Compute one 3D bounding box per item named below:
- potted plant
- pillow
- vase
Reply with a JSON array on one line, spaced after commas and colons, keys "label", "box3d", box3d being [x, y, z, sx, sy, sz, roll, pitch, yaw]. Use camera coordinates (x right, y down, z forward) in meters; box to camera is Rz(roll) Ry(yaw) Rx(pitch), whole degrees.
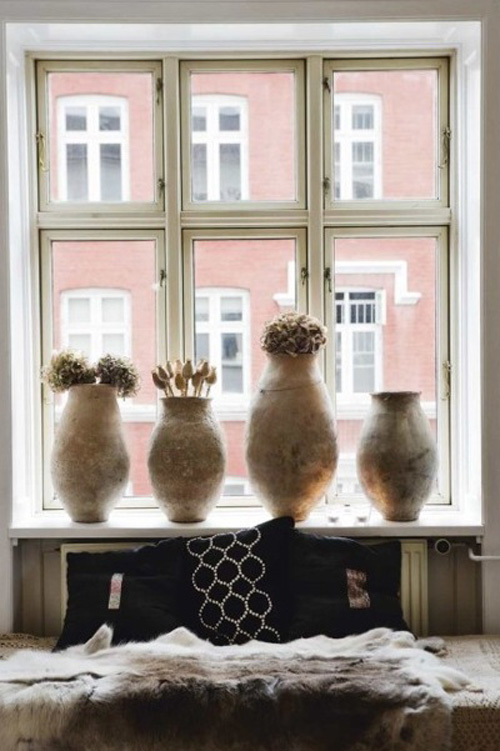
[{"label": "potted plant", "box3d": [-0.190, 0.142, 4.492, 0.642, 0.507, 0.203, -1, -9, -2]}, {"label": "pillow", "box3d": [-0.020, 0.694, 4.405, 0.745, 0.409, 0.179, -2, -10, -2]}, {"label": "vase", "box3d": [0.485, 0.252, 4.465, 0.354, 0.434, 0.366, 0, 4, 20]}]
